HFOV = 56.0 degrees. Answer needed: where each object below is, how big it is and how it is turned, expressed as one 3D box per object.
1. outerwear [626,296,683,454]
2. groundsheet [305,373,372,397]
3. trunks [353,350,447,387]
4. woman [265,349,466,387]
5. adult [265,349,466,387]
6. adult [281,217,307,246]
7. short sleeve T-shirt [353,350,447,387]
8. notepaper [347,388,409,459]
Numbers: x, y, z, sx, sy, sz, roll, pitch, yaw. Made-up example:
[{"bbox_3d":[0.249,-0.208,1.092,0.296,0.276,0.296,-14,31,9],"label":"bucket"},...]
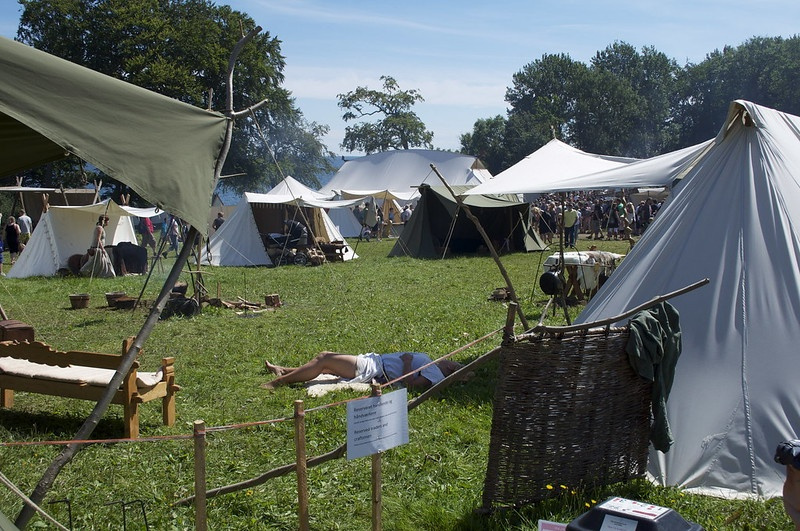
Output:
[{"bbox_3d":[2.256,0.987,6.675,0.392,1.146,0.900,16,10,32],"label":"outerwear"},{"bbox_3d":[-0.746,1.423,8.963,0.749,0.145,0.784,5,7,-5],"label":"groundsheet"},{"bbox_3d":[-0.008,1.237,8.814,1.428,0.487,0.536,0,2,0],"label":"trunks"},{"bbox_3d":[-0.441,1.248,9.065,2.285,0.458,0.850,-3,-10,0],"label":"woman"},{"bbox_3d":[-0.379,1.263,9.050,2.285,0.458,0.850,-3,-10,0],"label":"adult"},{"bbox_3d":[-3.058,-0.930,21.681,0.464,0.810,0.845,-8,-7,40],"label":"adult"},{"bbox_3d":[-0.008,1.237,8.814,1.428,0.487,0.536,0,2,0],"label":"short sleeve T-shirt"},{"bbox_3d":[-0.183,1.258,5.918,0.596,0.482,0.065,-6,9,-30],"label":"notepaper"}]
